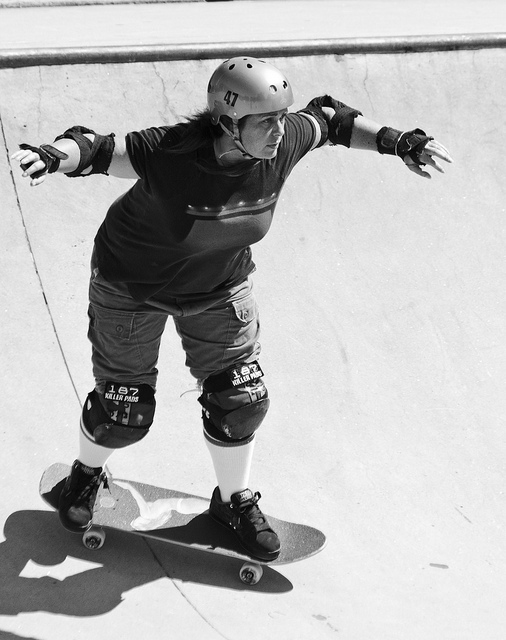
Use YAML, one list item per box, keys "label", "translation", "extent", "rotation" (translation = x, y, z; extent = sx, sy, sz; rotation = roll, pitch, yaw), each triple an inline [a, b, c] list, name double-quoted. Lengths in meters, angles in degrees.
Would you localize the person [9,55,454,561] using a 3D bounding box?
- label: "person"
  translation: [-0.211, 0.002, 2.677]
  extent: [1.365, 1.915, 0.656]
  rotation: [1, 16, -17]
